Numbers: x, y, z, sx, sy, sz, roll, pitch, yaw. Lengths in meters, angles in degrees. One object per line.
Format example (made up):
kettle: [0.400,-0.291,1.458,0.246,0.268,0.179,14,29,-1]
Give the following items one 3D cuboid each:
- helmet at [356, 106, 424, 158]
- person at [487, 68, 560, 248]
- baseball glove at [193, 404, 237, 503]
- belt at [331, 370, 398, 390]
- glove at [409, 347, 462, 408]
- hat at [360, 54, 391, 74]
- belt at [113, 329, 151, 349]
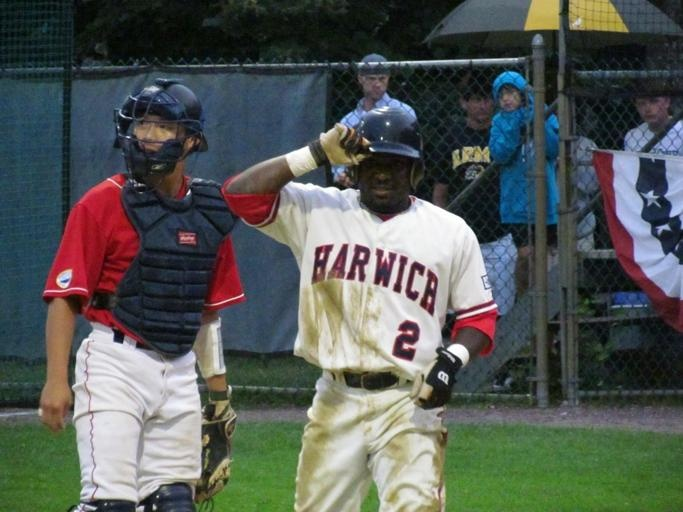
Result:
helmet: [0.318,-0.912,10.681,0.509,0.324,0.648,2,8,-3]
person: [1.786,-0.920,14.050,0.798,1.659,0.589,1,-1,-35]
baseball glove: [-0.927,1.471,11.010,0.235,0.335,0.778,4,25,4]
belt: [0.170,0.869,10.419,0.461,0.134,0.063,1,-1,8]
glove: [0.692,0.882,10.340,0.261,0.415,0.164,30,-11,22]
hat: [0.311,-1.814,14.026,0.280,0.234,0.524,1,-1,1]
belt: [-1.497,0.585,10.542,0.258,0.145,0.046,1,-1,-12]
